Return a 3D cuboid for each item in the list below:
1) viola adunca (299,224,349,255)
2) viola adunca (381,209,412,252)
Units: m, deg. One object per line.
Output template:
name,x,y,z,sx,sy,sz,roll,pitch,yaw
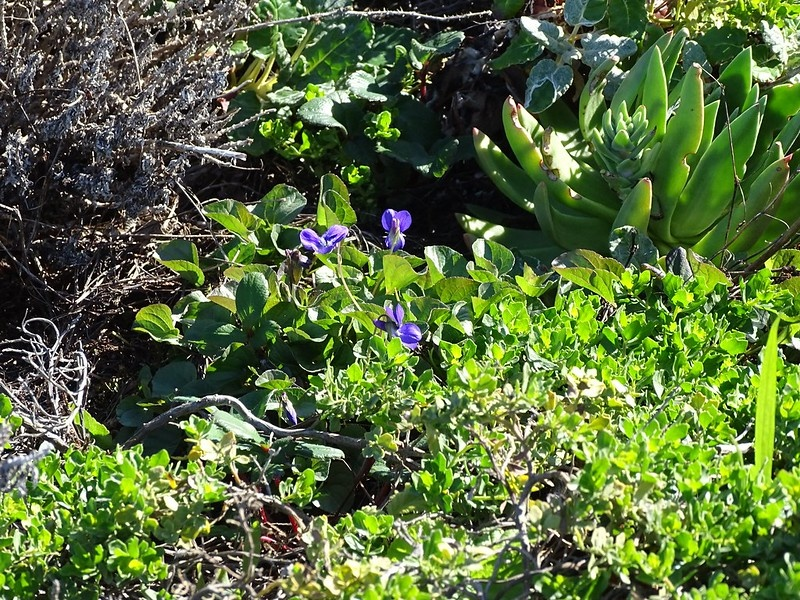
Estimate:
viola adunca,-0.164,-0.139,1.931,0.076,0.038,0.072,-6,27,25
viola adunca,0.007,-0.156,2.011,0.055,0.095,0.068,14,6,0
